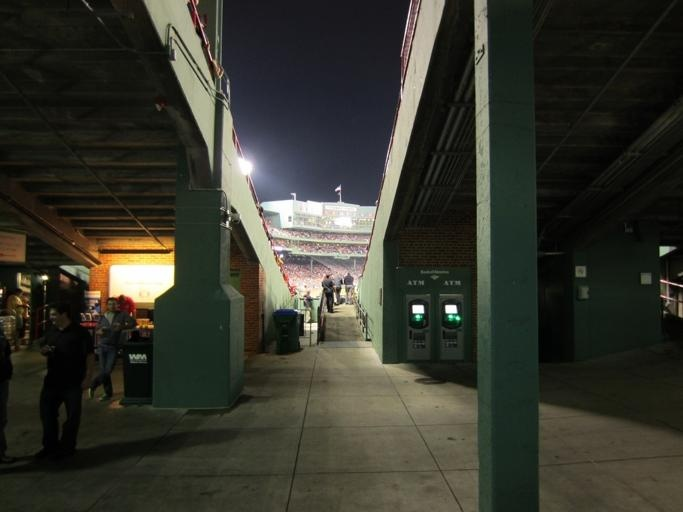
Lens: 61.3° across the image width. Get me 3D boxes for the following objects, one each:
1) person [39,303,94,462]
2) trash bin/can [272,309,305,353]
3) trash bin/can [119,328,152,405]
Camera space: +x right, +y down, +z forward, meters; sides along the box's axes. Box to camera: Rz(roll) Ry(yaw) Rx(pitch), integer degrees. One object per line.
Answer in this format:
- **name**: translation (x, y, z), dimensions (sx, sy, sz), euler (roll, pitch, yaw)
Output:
- **person**: translation (-4.559, 2.037, 9.486), dimensions (0.693, 2.391, 0.852), euler (2, 13, 9)
- **trash bin/can**: translation (-1.553, 2.235, 16.762), dimensions (0.775, 1.241, 0.725), euler (-3, 13, -12)
- **trash bin/can**: translation (-4.206, 2.299, 11.863), dimensions (0.675, 1.265, 0.960), euler (-5, 13, -19)
